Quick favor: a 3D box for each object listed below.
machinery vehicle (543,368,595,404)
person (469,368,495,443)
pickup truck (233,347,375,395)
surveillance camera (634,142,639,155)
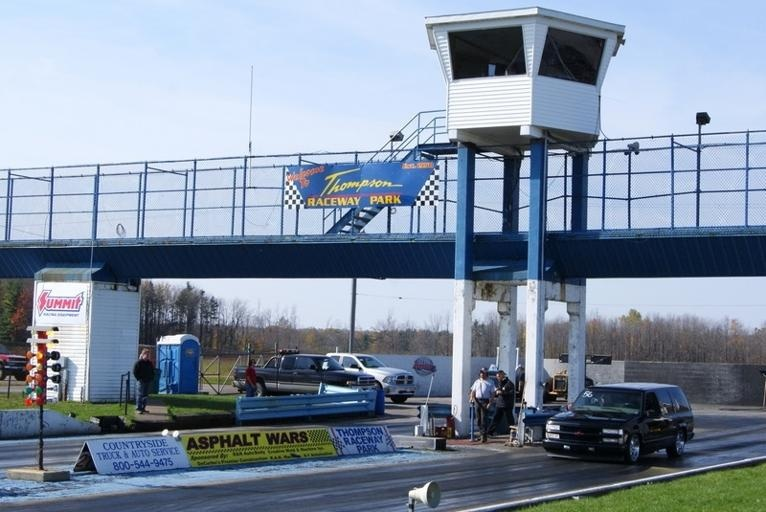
[{"bbox_3d":[9.624,6.972,72.497,1.864,1.604,3.398,-2,-7,21],"label":"machinery vehicle"},{"bbox_3d":[4.089,6.155,54.560,1.041,2.966,1.223,1,-6,3],"label":"person"},{"bbox_3d":[-3.547,5.730,64.509,5.352,2.010,2.408,-3,-5,23],"label":"pickup truck"},{"bbox_3d":[10.610,-4.464,55.795,0.247,0.431,0.564,0,-7,11],"label":"surveillance camera"}]
